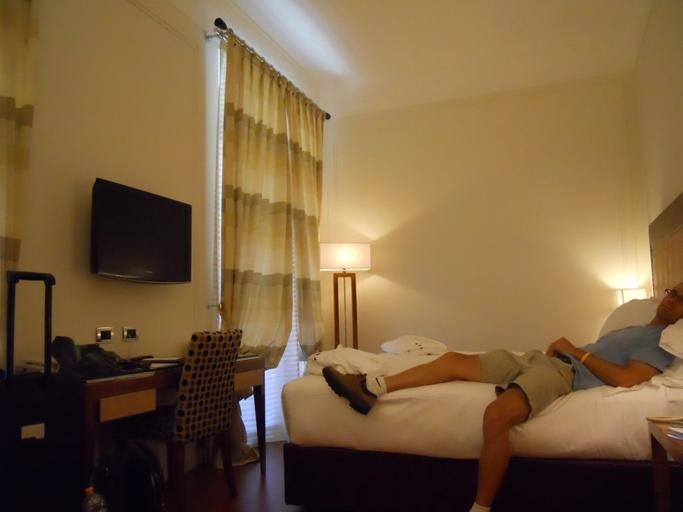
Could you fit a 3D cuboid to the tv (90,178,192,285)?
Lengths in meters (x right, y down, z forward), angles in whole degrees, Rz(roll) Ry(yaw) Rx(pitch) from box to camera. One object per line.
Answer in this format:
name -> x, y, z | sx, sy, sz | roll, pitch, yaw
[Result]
tv -> -1.301, -0.147, 3.281 | 0.079, 0.584, 0.633 | -6, -9, 31
